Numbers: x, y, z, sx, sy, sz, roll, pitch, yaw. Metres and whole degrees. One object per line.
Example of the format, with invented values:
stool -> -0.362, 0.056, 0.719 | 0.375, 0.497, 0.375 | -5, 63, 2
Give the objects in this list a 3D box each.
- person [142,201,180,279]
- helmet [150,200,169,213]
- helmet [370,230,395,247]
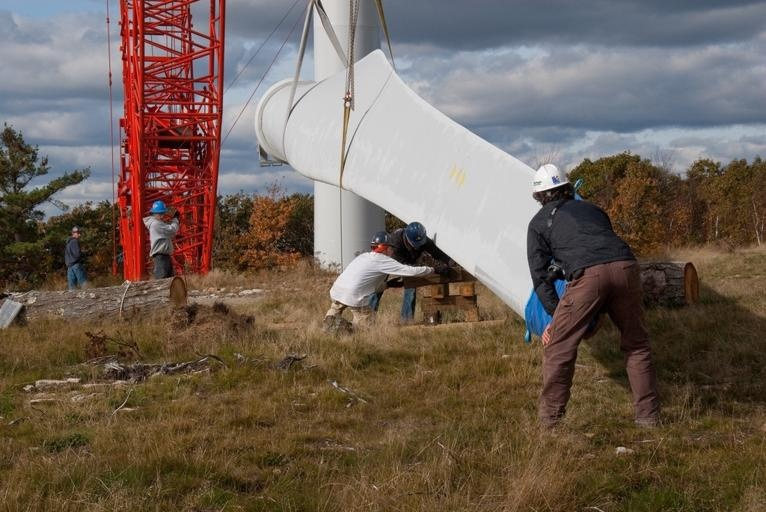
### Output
person -> -4.543, -0.290, 18.455 | 0.665, 1.655, 2.257 | -1, 7, -14
helmet -> -4.629, -0.986, 18.531 | 0.277, 0.216, 0.385 | -2, 13, -8
helmet -> 0.020, -0.308, 15.388 | 0.229, 0.202, 0.332 | 6, 17, 38
